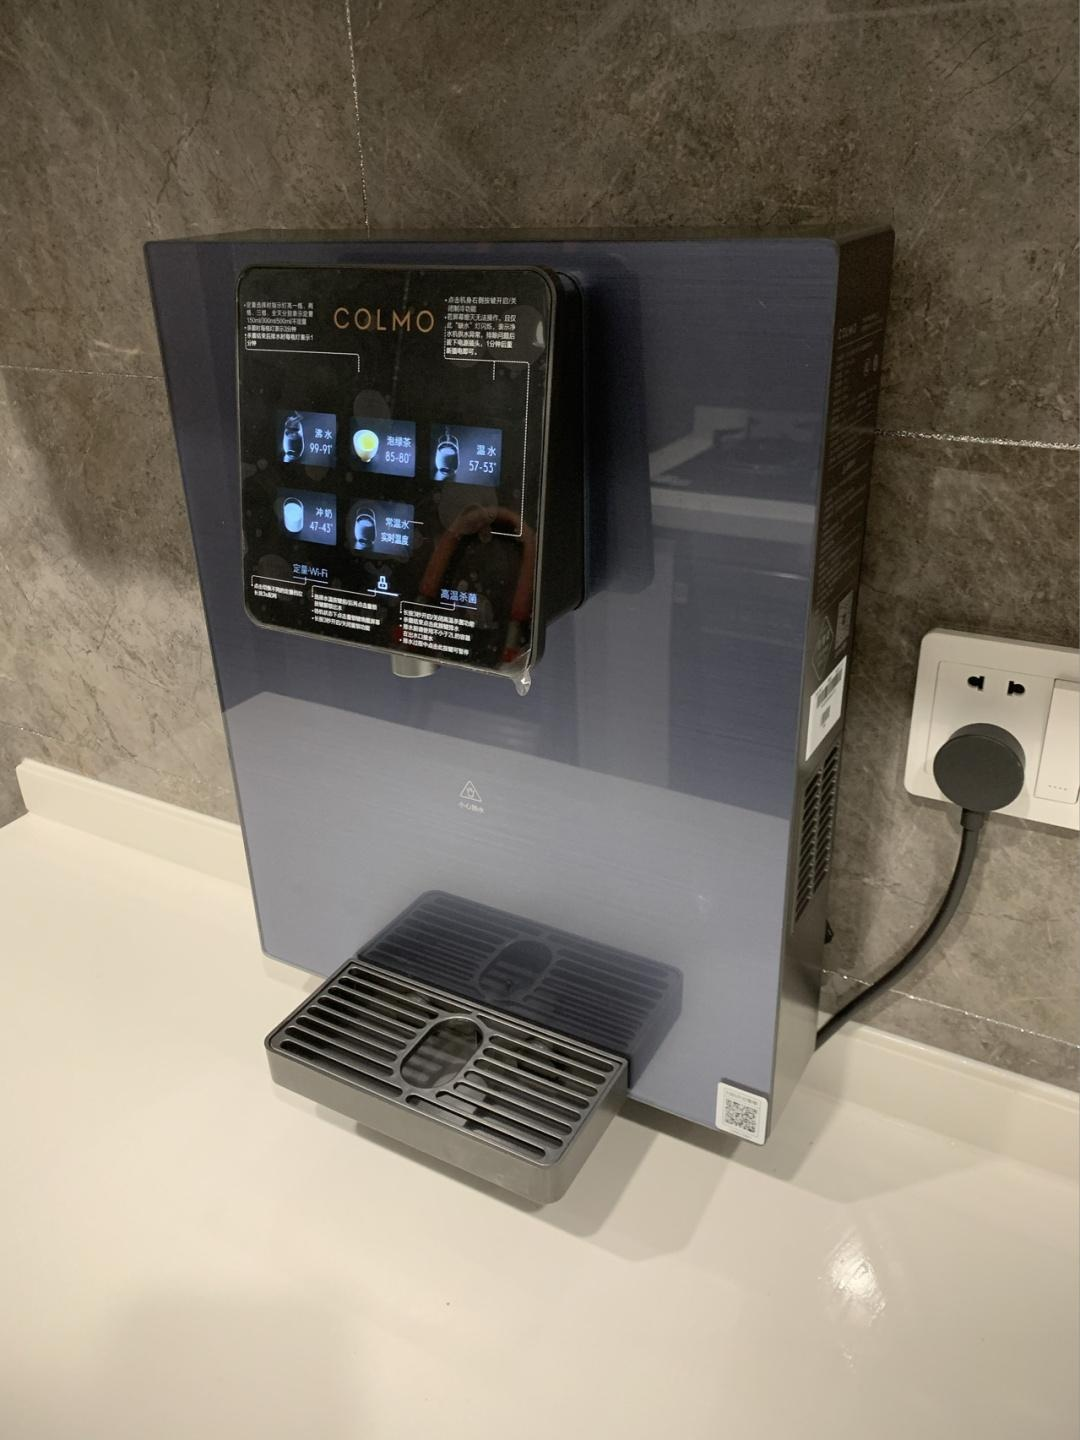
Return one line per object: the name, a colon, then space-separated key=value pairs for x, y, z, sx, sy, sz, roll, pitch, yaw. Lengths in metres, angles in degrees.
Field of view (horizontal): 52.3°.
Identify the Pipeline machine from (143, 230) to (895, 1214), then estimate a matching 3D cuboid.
Pipeline machine: x=-0.021 y=-0.013 z=0.572 sx=0.340 sy=0.447 sz=0.250 roll=11 pitch=29 yaw=22
